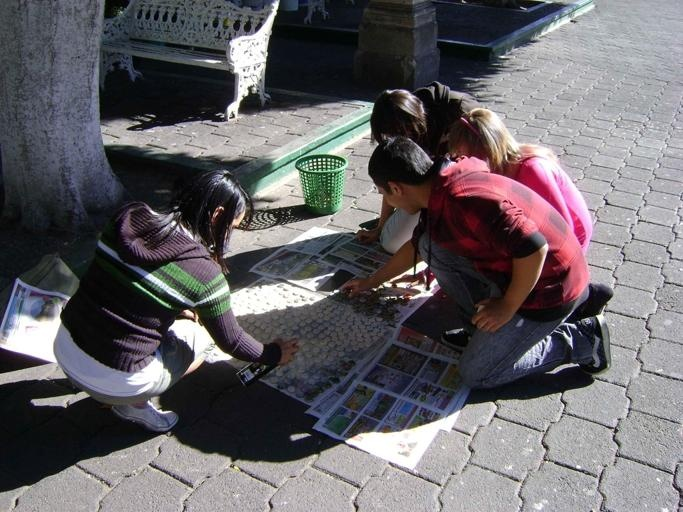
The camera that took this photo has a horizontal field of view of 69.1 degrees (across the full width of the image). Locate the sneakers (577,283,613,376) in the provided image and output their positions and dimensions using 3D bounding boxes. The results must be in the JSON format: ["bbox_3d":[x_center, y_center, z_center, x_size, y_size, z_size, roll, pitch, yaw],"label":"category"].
[{"bbox_3d":[1.356,0.386,2.634,0.232,0.462,0.190,14,-10,-31],"label":"sneakers"}]

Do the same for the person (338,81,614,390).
[{"bbox_3d":[0.772,0.054,2.585,1.400,1.172,0.698,22,32,25],"label":"person"}]

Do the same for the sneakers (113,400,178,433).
[{"bbox_3d":[-0.927,0.795,2.473,0.359,0.146,0.125,13,37,-15],"label":"sneakers"}]

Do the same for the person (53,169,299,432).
[{"bbox_3d":[-0.724,0.268,2.449,1.116,1.148,0.765,17,12,-19],"label":"person"}]

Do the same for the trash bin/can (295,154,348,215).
[{"bbox_3d":[-0.183,-0.565,4.151,0.434,0.338,0.405,-1,21,-1],"label":"trash bin/can"}]

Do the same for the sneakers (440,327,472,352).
[{"bbox_3d":[0.664,0.472,2.848,0.229,0.088,0.073,14,43,25],"label":"sneakers"}]
